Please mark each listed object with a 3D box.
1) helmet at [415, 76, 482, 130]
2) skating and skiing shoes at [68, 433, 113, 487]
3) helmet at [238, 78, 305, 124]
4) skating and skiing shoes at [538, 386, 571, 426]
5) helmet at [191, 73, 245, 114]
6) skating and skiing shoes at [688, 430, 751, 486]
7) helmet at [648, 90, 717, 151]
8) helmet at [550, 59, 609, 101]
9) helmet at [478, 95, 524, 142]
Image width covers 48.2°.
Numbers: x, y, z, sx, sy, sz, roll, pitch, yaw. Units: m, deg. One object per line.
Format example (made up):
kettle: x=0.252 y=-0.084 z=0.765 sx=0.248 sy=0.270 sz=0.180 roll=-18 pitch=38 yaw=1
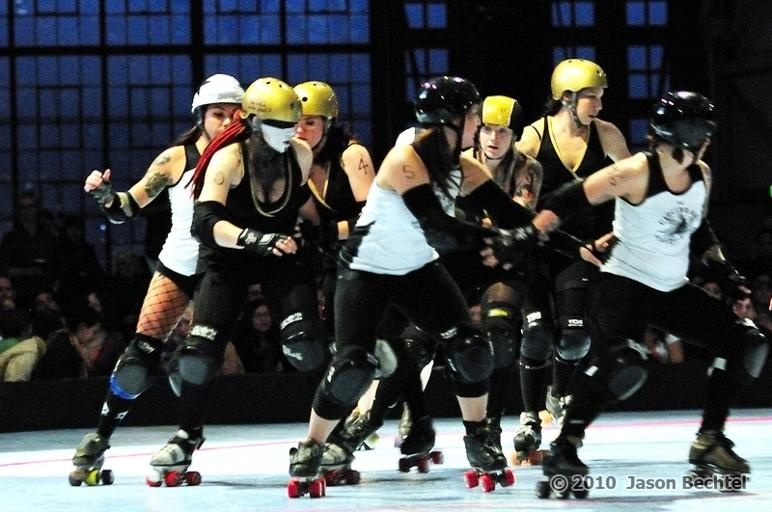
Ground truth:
helmet: x=0.343 y=-0.876 z=5.004 sx=0.444 sy=0.350 sz=0.306 roll=-5 pitch=27 yaw=-1
skating and skiing shoes: x=-1.907 y=1.303 z=5.532 sx=0.267 sy=0.315 sz=0.227 roll=-1 pitch=6 yaw=-17
helmet: x=-0.706 y=-0.927 z=5.282 sx=0.410 sy=0.287 sz=0.293 roll=6 pitch=24 yaw=28
skating and skiing shoes: x=1.277 y=1.138 z=6.648 sx=0.214 sy=0.221 sz=0.574 roll=1 pitch=7 yaw=6
helmet: x=-1.122 y=-1.086 z=5.740 sx=0.349 sy=0.251 sz=0.223 roll=0 pitch=5 yaw=-3
skating and skiing shoes: x=1.932 y=1.170 z=5.008 sx=0.400 sy=0.237 sz=0.120 roll=16 pitch=-12 yaw=-3
helmet: x=1.725 y=-0.769 z=4.909 sx=0.422 sy=0.359 sz=0.295 roll=-12 pitch=27 yaw=-12
helmet: x=1.494 y=-1.345 z=6.590 sx=0.394 sy=0.304 sz=0.444 roll=-21 pitch=19 yaw=-37
helmet: x=0.786 y=-1.037 z=6.139 sx=0.272 sy=0.225 sz=0.320 roll=9 pitch=23 yaw=0
